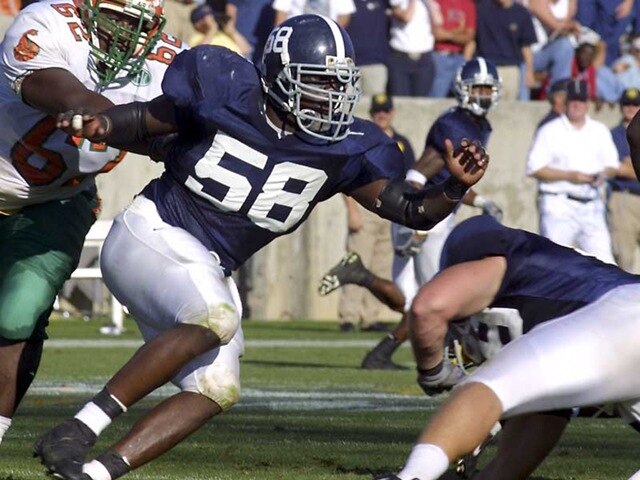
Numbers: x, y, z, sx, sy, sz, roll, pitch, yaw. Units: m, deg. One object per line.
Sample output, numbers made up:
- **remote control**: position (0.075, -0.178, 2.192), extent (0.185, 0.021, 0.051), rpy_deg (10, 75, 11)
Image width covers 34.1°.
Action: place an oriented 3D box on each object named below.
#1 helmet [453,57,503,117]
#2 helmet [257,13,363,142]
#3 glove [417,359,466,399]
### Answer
- **helmet**: position (1.042, -1.059, 6.937), extent (0.299, 0.367, 0.394), rpy_deg (1, -2, -3)
- **helmet**: position (-0.031, -0.670, 4.052), extent (0.364, 0.433, 0.500), rpy_deg (-4, 20, -38)
- **glove**: position (0.460, 0.556, 4.043), extent (0.165, 0.096, 0.127), rpy_deg (-23, 3, 39)
